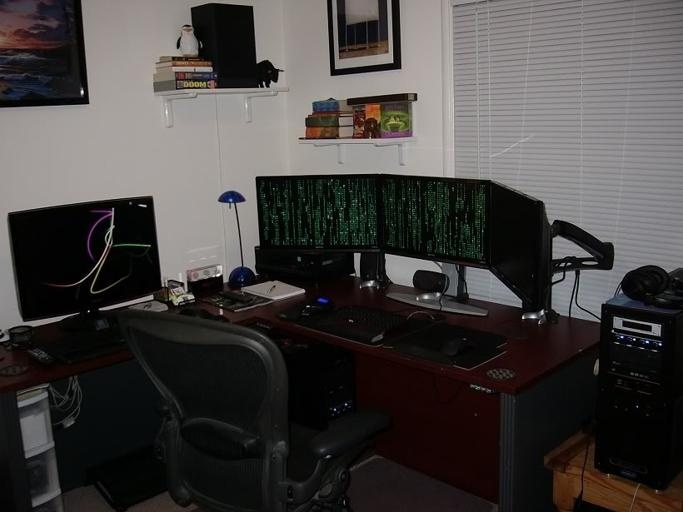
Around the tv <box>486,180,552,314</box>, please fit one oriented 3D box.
[{"bbox_3d":[0.815,-0.023,2.433,0.210,0.602,0.315,-9,15,-24],"label":"tv"}]

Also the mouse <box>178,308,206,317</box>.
[{"bbox_3d":[-0.581,0.213,2.169,0.069,0.018,0.071,-5,10,-43],"label":"mouse"}]

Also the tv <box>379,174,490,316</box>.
[{"bbox_3d":[0.454,-0.070,2.737,0.622,0.609,0.264,12,18,43],"label":"tv"}]

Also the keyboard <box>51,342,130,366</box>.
[{"bbox_3d":[-1.094,0.406,2.393,0.087,0.014,0.212,16,17,38],"label":"keyboard"}]

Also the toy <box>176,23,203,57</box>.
[{"bbox_3d":[-0.819,-1.144,2.984,0.117,0.153,0.094,-16,35,-32],"label":"toy"}]

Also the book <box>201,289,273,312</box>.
[{"bbox_3d":[-0.537,0.233,2.900,0.187,0.032,0.132,16,24,41],"label":"book"}]

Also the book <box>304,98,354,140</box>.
[{"bbox_3d":[-0.071,-0.759,3.176,0.252,0.184,0.256,7,14,31],"label":"book"}]

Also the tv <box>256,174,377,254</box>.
[{"bbox_3d":[-0.134,-0.236,3.009,0.698,0.414,0.026,1,7,13],"label":"tv"}]

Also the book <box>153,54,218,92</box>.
[{"bbox_3d":[-0.854,-0.933,2.985,0.248,0.149,0.232,-9,15,-42],"label":"book"}]

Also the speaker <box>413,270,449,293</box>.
[{"bbox_3d":[0.449,0.121,2.785,0.116,0.068,0.034,6,14,33],"label":"speaker"}]

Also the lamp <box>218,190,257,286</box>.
[{"bbox_3d":[-0.619,-0.131,3.291,0.185,0.533,0.477,-6,14,-11],"label":"lamp"}]

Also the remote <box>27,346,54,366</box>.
[{"bbox_3d":[-1.279,0.413,2.371,0.140,0.041,0.059,19,27,33],"label":"remote"}]
